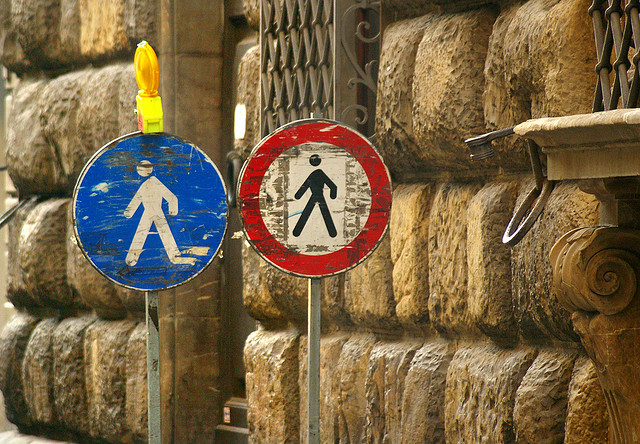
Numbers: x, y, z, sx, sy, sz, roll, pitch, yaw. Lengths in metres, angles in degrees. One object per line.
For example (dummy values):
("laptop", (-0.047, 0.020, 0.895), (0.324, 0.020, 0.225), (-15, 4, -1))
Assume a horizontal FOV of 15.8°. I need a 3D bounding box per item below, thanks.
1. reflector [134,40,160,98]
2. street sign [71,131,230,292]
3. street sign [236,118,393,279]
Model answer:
("reflector", (-1.016, -0.881, 13.541), (0.146, 0.309, 0.160), (-6, 18, -4))
("street sign", (-0.959, -0.051, 13.630), (1.228, 1.059, 0.148), (1, 2, -4))
("street sign", (-0.034, -0.110, 13.234), (1.045, 0.900, 0.079), (0, 2, -30))
